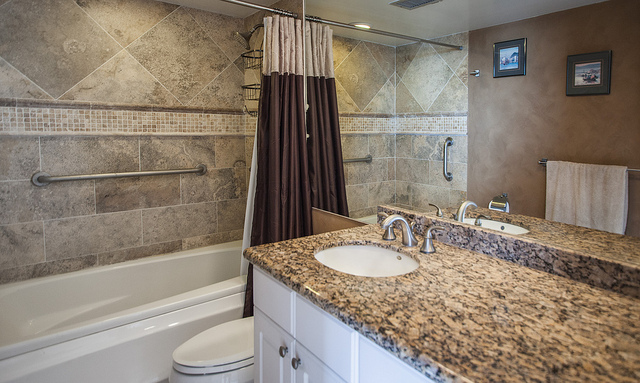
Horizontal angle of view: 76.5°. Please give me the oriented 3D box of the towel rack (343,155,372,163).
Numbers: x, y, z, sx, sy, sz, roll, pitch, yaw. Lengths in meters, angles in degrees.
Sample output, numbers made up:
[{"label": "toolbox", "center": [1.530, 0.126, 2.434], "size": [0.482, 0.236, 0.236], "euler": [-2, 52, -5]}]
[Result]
[{"label": "towel rack", "center": [0.264, -0.230, 2.915], "size": [0.010, 0.077, 0.326], "euler": [-6, 12, -32]}]

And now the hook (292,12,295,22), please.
[{"label": "hook", "center": [-0.209, -1.358, 3.160], "size": [0.009, 0.069, 0.040], "euler": [-2, 10, -11]}]

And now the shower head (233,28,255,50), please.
[{"label": "shower head", "center": [-0.703, -1.386, 3.709], "size": [0.200, 0.065, 0.164], "euler": [10, 4, -30]}]

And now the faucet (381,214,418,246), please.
[{"label": "faucet", "center": [0.424, 0.220, 2.315], "size": [0.295, 0.225, 0.109], "euler": [-2, 2, -30]}]
